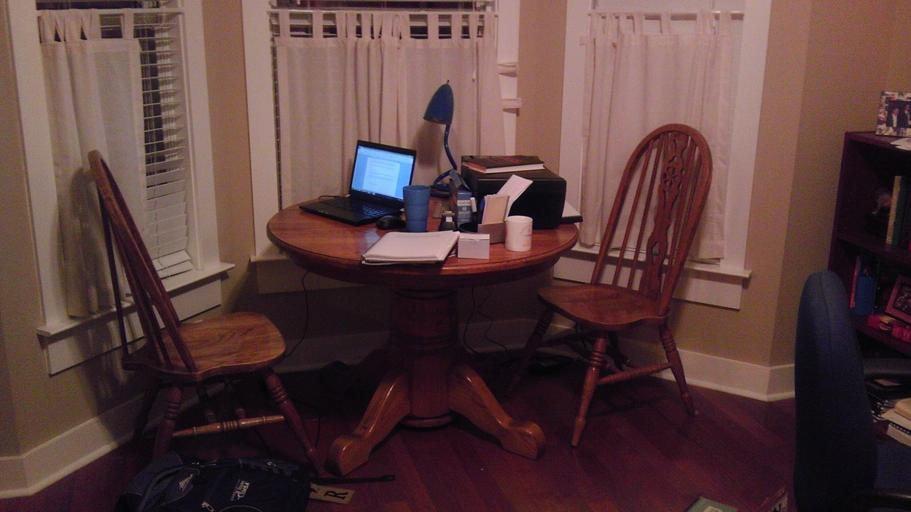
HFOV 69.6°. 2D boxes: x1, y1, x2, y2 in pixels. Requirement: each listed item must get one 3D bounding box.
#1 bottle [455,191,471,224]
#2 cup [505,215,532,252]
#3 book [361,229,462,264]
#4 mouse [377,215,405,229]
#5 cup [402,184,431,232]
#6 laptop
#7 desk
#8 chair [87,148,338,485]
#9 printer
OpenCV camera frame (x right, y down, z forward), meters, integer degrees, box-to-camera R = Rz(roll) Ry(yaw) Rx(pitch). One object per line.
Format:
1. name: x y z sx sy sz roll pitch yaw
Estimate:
1. bottle: 0.045 -0.246 3.355 0.082 0.152 0.100 0 23 0
2. cup: 0.309 -0.117 3.244 0.132 0.155 0.157 2 23 4
3. book: -0.206 -0.045 3.157 0.416 0.084 0.323 4 22 7
4. mouse: -0.333 -0.182 3.434 0.073 0.046 0.136 14 14 40
5. cup: -0.200 -0.247 3.379 0.126 0.230 0.202 -1 23 -3
6. laptop: -0.521 -0.394 3.627 0.612 0.361 0.540 20 24 41
7. desk: -0.369 0.441 3.731 1.498 0.962 1.440 -7 14 -27
8. chair: -1.265 0.305 3.374 0.996 1.420 0.751 -1 12 -25
9. printer: 0.349 -0.372 3.510 0.432 0.201 0.595 -6 22 -15
